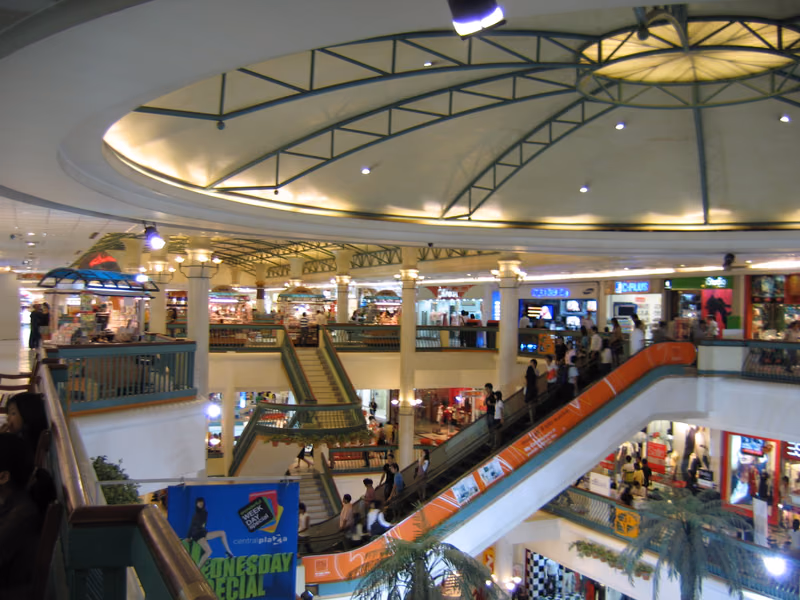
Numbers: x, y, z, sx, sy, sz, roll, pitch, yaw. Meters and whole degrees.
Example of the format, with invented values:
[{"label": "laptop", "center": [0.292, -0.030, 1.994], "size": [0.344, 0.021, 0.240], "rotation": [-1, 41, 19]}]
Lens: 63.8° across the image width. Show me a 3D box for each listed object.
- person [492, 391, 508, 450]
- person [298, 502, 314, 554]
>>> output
[{"label": "person", "center": [2.413, 2.862, 15.779], "size": [0.309, 1.227, 0.913], "rotation": [1, -2, 8]}, {"label": "person", "center": [-2.176, 5.253, 14.933], "size": [0.337, 1.179, 1.208], "rotation": [1, -2, -8]}]
